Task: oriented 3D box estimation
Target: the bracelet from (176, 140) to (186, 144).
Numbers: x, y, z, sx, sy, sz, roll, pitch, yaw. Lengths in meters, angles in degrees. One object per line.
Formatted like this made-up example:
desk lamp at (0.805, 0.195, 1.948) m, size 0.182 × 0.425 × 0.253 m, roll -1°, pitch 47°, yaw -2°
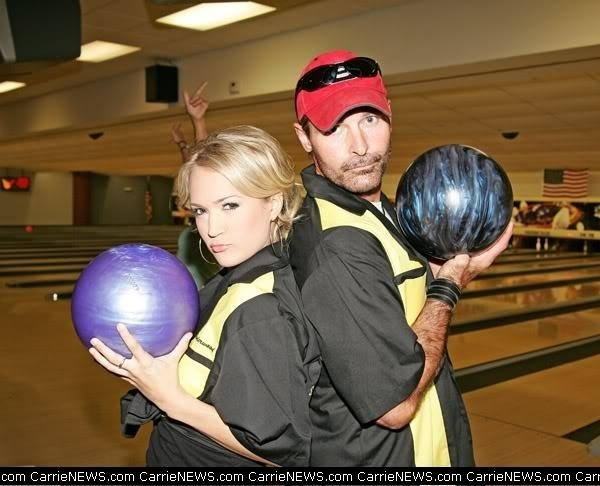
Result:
bracelet at (-0.718, -0.613, 2.588) m, size 0.051 × 0.018 × 0.073 m, roll 0°, pitch 2°, yaw 2°

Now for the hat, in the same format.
hat at (0.087, -0.333, 0.964) m, size 0.149 × 0.124 × 0.226 m, roll -10°, pitch 21°, yaw -3°

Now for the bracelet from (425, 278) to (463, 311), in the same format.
bracelet at (0.298, 0.094, 0.858) m, size 0.059 × 0.047 × 0.063 m, roll 10°, pitch -36°, yaw 10°

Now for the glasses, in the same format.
glasses at (0.086, -0.327, 0.955) m, size 0.132 × 0.109 × 0.201 m, roll -12°, pitch 20°, yaw -4°

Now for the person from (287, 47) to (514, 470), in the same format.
person at (0.160, 0.023, 0.902) m, size 0.462 × 0.913 × 0.376 m, roll -5°, pitch 7°, yaw -40°

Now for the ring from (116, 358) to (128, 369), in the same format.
ring at (-0.306, 0.207, 0.735) m, size 0.006 × 0.019 × 0.018 m, roll 21°, pitch 12°, yaw 2°
